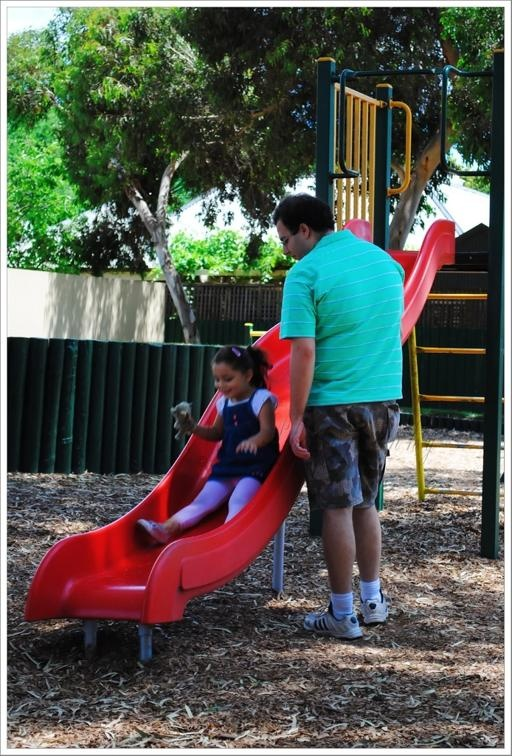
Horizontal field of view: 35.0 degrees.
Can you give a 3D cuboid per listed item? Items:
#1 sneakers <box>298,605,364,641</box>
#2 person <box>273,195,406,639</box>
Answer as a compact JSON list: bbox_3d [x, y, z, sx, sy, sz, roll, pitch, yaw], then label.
[{"bbox_3d":[0.280,0.924,3.152,0.238,0.125,0.098,7,8,43],"label":"sneakers"},{"bbox_3d":[0.297,0.139,3.125,0.380,1.689,0.631,3,2,40],"label":"person"}]
